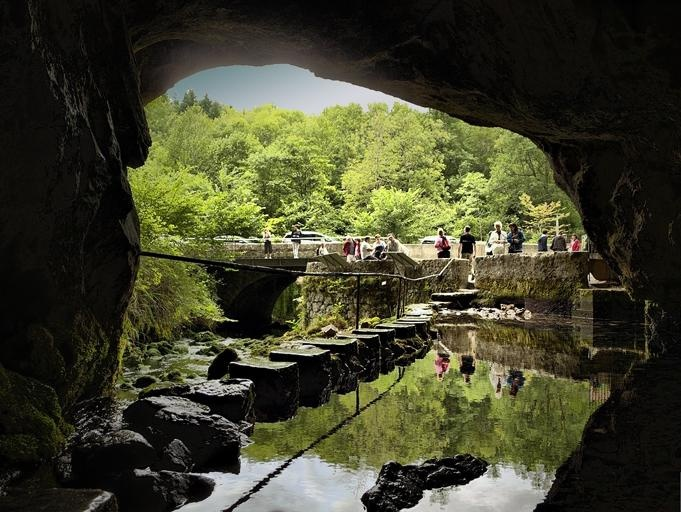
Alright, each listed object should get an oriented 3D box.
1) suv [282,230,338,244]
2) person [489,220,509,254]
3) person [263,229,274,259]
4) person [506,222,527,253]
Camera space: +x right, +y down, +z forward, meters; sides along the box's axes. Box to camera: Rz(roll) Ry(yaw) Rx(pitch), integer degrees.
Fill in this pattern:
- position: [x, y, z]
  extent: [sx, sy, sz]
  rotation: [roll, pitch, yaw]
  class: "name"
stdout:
- position: [-1.913, -1.557, 35.646]
  extent: [2.860, 1.076, 1.492]
  rotation: [-5, 17, -15]
  class: "suv"
- position: [5.132, -0.358, 17.117]
  extent: [0.573, 1.383, 0.454]
  rotation: [-1, -3, 3]
  class: "person"
- position: [-3.675, -0.669, 27.327]
  extent: [0.445, 1.567, 1.921]
  rotation: [0, -1, -7]
  class: "person"
- position: [5.637, -0.622, 17.155]
  extent: [0.522, 1.008, 2.062]
  rotation: [0, -1, 18]
  class: "person"
